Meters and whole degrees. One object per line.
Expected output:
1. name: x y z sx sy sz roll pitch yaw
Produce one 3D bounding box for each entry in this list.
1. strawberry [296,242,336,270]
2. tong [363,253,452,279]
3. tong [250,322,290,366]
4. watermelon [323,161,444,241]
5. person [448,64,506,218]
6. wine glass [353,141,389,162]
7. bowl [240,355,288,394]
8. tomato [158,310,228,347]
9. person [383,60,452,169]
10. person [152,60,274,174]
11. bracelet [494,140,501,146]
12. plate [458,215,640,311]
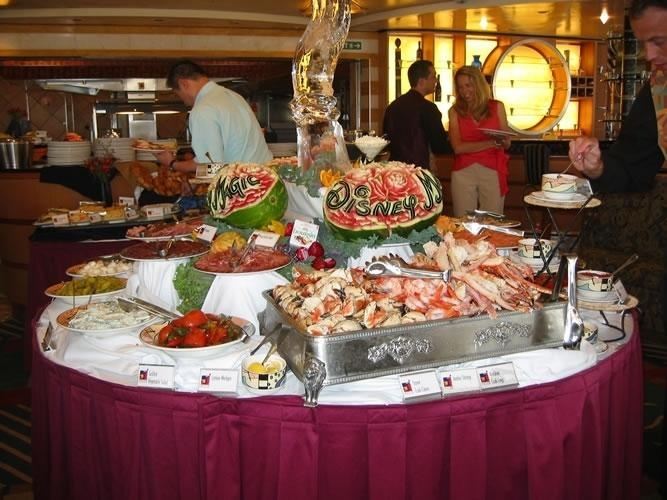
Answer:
1. strawberry: -0.071 0.028 1.923 0.118 0.045 0.115 -1 35 -28
2. tong: 0.222 0.068 1.599 0.324 0.096 0.092 4 -4 5
3. tong: -0.181 0.278 1.568 0.086 0.041 0.153 2 45 47
4. watermelon: 0.187 -0.191 1.880 0.382 0.281 0.223 -7 -10 1
5. person: 1.327 -0.958 4.575 0.543 1.355 0.307 3 13 22
6. wine glass: 0.232 -0.622 3.123 0.257 0.195 0.266 0 10 -2
7. bowl: -0.252 0.398 1.558 0.200 0.082 0.156 1 3 -1
8. tomato: -0.466 0.269 1.640 0.144 0.052 0.143 0 10 -4
9. person: 0.837 -1.341 4.981 0.691 1.076 0.528 1 12 12
10. person: -0.881 -0.935 3.339 0.611 0.718 0.703 4 13 25
11. bracelet: 1.394 -0.890 4.192 0.049 0.035 0.586 2 12 17
12. plate: 1.102 0.054 2.382 0.713 0.170 0.711 2 9 5
